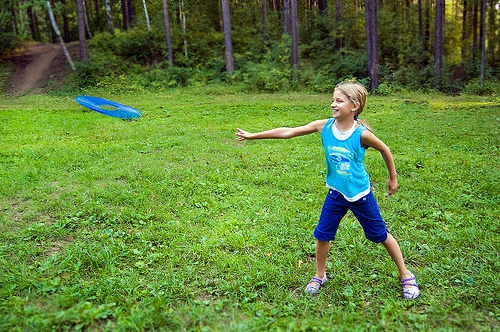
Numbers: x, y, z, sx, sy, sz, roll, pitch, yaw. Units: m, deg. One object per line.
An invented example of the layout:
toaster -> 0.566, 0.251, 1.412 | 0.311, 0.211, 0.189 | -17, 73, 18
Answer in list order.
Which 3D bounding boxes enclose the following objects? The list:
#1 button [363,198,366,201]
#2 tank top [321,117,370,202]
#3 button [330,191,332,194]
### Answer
button -> 2.010, 0.580, 6.967 | 0.046, 0.056, 0.006 | -3, 15, -3
tank top -> 1.782, -0.187, 7.222 | 0.708, 1.388, 0.883 | -18, 28, -28
button -> 1.446, 0.467, 7.112 | 0.012, 0.051, 0.051 | 1, 28, -28
